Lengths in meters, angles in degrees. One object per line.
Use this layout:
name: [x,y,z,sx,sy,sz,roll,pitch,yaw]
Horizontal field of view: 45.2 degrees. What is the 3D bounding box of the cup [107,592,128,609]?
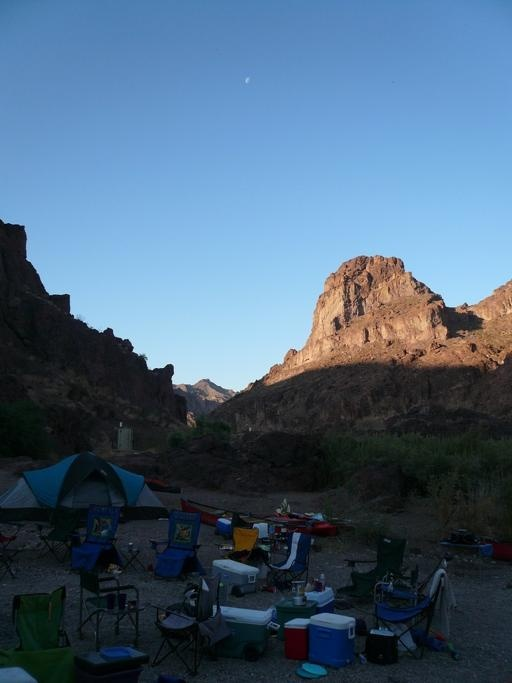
cup: [-1.451,2.680,6.426,0.187,0.136,0.170,1,-5,0]
